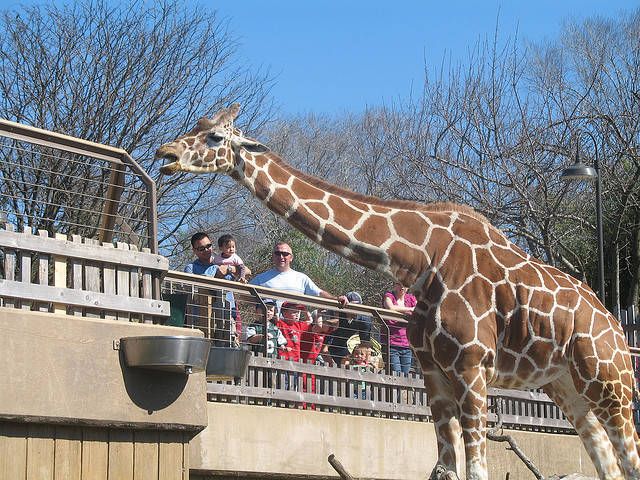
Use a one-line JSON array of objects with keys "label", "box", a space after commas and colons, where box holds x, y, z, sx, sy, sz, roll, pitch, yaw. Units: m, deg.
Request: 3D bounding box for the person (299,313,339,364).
[{"label": "person", "box": [-0.021, 1.357, 18.515, 0.221, 1.018, 0.494, 13, 12, 13]}]

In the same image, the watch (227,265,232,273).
[{"label": "watch", "box": [-1.271, 0.368, 18.646, 0.069, 0.070, 0.075, 5, -41, -34]}]

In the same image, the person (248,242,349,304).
[{"label": "person", "box": [-0.474, 0.543, 25.654, 1.171, 1.645, 0.420, -1, -27, -9]}]

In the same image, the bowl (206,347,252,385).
[{"label": "bowl", "box": [-1.141, 1.500, 15.869, 0.669, 0.409, 0.582, -3, -11, 22]}]

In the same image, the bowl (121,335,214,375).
[{"label": "bowl", "box": [-1.716, 1.224, 14.879, 0.976, 0.428, 0.381, 6, -15, -19]}]

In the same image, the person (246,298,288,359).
[{"label": "person", "box": [-0.712, 1.235, 17.841, 0.559, 0.991, 0.412, 5, -17, -29]}]
